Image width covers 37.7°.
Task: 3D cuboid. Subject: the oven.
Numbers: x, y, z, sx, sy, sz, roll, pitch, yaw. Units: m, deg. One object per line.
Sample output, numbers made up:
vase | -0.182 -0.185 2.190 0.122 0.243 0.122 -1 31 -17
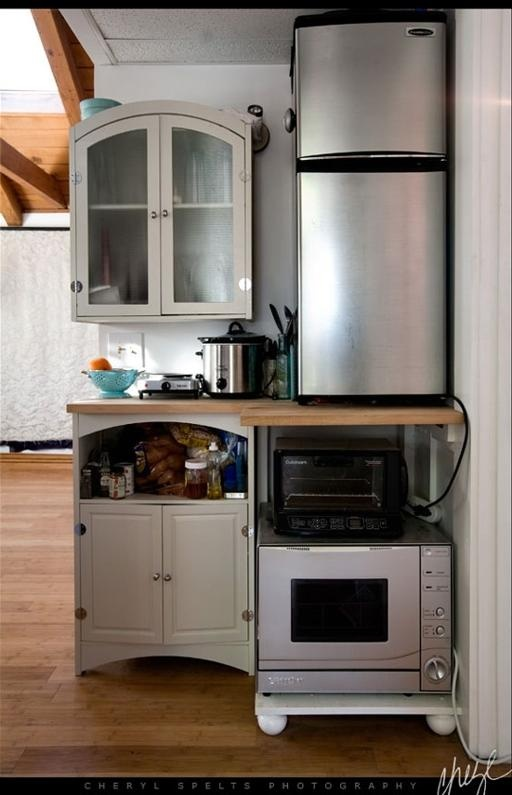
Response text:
oven | 0.253 0.477 2.249 0.470 0.644 0.646 0 -3 1

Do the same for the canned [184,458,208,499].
canned | -0.178 0.243 2.202 0.091 0.149 0.094 0 -3 -1

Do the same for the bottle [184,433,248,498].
bottle | -0.113 0.212 2.280 0.188 0.193 0.134 1 -4 1

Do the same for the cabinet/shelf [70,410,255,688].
cabinet/shelf | -0.274 0.397 2.322 0.530 0.802 0.417 0 8 -1

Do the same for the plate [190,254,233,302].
plate | -0.144 -0.372 2.371 0.120 0.160 0.087 -1 11 -2

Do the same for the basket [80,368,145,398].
basket | -0.471 -0.050 2.407 0.175 0.090 0.162 -3 9 -21
